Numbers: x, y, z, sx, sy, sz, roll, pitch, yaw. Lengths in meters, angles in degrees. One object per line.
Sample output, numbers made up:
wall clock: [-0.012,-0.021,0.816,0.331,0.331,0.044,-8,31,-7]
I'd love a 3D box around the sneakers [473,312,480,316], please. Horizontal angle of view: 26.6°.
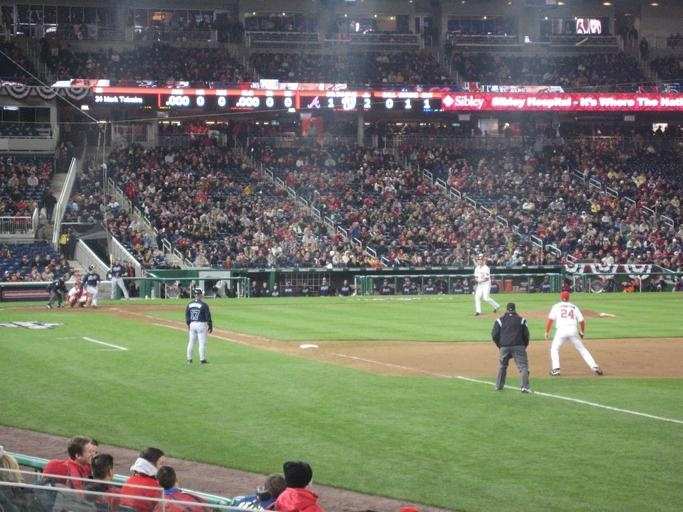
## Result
sneakers: [7.291,3.168,78.472,0.192,0.206,0.509,2,1,-23]

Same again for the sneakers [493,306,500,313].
sneakers: [8.314,2.941,78.119,0.229,0.290,0.677,1,16,13]

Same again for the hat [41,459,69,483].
hat: [-10.372,8.085,52.544,0.972,0.691,1.240,5,24,-8]

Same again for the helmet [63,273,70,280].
helmet: [-15.642,1.211,82.289,0.373,0.239,0.490,3,16,-3]

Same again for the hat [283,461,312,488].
hat: [-1.623,7.971,52.085,0.785,0.993,1.034,3,1,11]

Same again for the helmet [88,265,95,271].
helmet: [-14.259,0.680,82.791,0.266,0.368,0.352,3,-2,-32]

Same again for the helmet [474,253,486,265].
helmet: [7.516,0.194,78.102,0.487,0.269,0.681,1,22,2]
